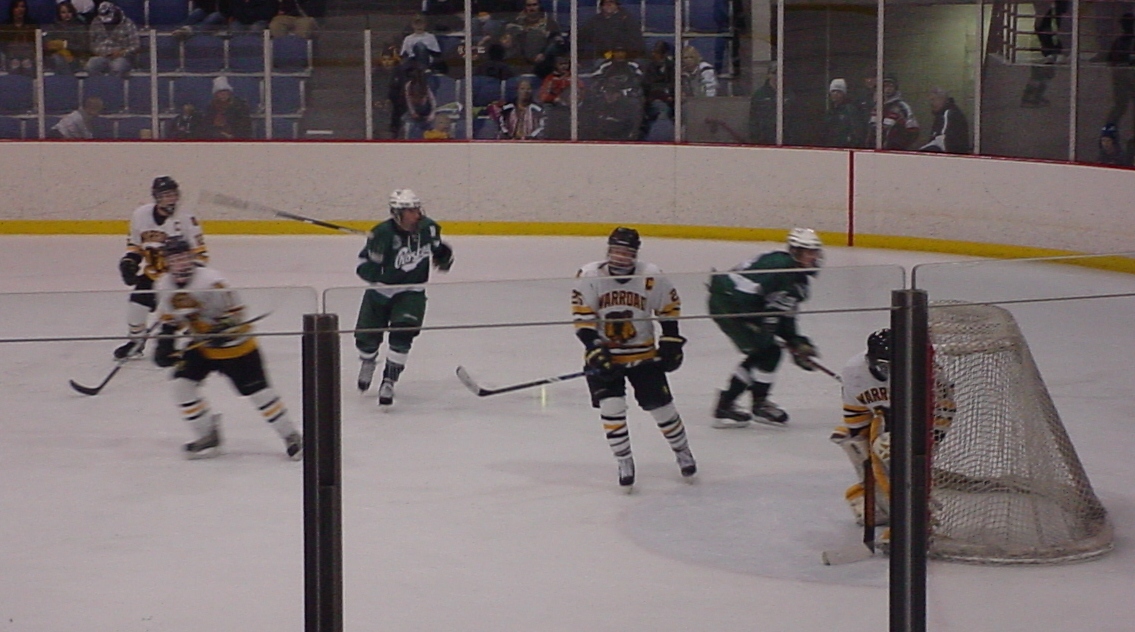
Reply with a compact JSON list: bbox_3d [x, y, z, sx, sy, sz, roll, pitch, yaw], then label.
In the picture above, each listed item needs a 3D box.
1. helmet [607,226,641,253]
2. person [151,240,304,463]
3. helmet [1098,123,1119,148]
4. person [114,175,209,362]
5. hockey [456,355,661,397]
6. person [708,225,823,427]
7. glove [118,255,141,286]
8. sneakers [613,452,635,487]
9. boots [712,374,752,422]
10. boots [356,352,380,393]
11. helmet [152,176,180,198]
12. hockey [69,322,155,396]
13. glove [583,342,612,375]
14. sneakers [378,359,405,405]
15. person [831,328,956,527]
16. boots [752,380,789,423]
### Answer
[{"bbox_3d":[0.419,-0.480,10.017,0.249,0.205,0.243,4,-1,-8],"label":"helmet"},{"bbox_3d":[-1.752,0.309,8.022,0.706,0.885,0.162,-2,7,10],"label":"person"},{"bbox_3d":[5.177,-1.700,14.698,0.157,0.160,0.195,-2,7,8],"label":"helmet"},{"bbox_3d":[-3.352,-0.323,12.806,0.866,1.407,0.715,0,4,-14],"label":"person"},{"bbox_3d":[-0.098,0.288,8.119,0.842,0.159,0.197,-8,15,-11],"label":"hockey"},{"bbox_3d":[1.076,0.172,8.332,0.660,0.808,0.369,-5,7,-13],"label":"person"},{"bbox_3d":[-3.622,-0.367,12.864,0.216,0.229,0.102,1,1,-21],"label":"glove"},{"bbox_3d":[0.312,0.812,8.184,0.079,0.182,0.092,-3,11,3],"label":"sneakers"},{"bbox_3d":[0.936,0.451,8.263,0.151,0.235,0.288,11,-4,-28],"label":"boots"},{"bbox_3d":[-1.039,0.300,8.058,0.087,0.202,0.160,5,7,-7],"label":"boots"},{"bbox_3d":[-3.318,-1.040,12.798,0.179,0.146,0.230,-5,6,-18],"label":"helmet"},{"bbox_3d":[-2.363,0.225,7.996,0.539,0.087,0.051,-38,-17,-12],"label":"hockey"},{"bbox_3d":[0.175,0.242,8.225,0.137,0.141,0.167,3,19,8],"label":"glove"},{"bbox_3d":[-0.910,0.350,8.043,0.106,0.227,0.166,-1,7,19],"label":"sneakers"},{"bbox_3d":[1.596,0.588,8.319,0.347,1.026,0.163,-4,7,-1],"label":"person"},{"bbox_3d":[1.061,0.478,8.207,0.293,0.216,0.131,-2,5,-5],"label":"boots"}]
